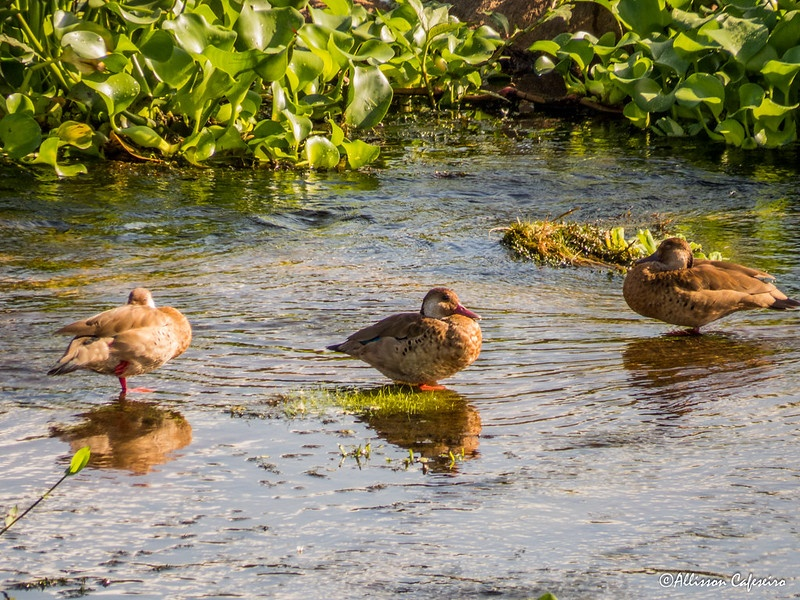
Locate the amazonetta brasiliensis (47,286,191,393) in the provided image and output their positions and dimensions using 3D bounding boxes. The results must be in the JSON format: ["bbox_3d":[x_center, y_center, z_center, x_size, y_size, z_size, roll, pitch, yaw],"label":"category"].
[{"bbox_3d":[-1.998,0.389,7.506,0.469,0.661,0.896,7,11,33],"label":"amazonetta brasiliensis"}]

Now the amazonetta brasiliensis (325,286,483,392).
[{"bbox_3d":[0.134,0.308,7.817,0.879,0.774,0.486,6,12,30],"label":"amazonetta brasiliensis"}]
